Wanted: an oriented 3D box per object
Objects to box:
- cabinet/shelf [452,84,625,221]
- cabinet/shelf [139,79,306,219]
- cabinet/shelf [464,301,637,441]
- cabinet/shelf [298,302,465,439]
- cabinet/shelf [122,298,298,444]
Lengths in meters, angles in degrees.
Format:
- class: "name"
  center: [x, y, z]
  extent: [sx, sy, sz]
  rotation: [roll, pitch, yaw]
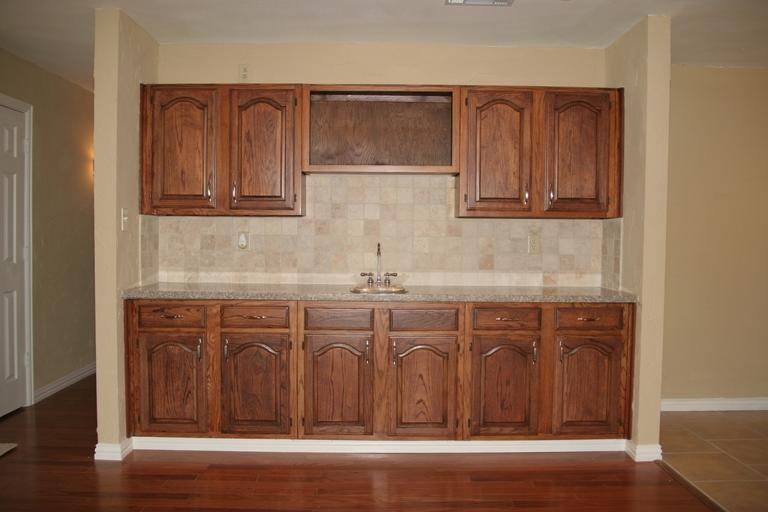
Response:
- class: "cabinet/shelf"
  center: [1.325, -0.916, 5.905]
  extent: [1.313, 0.968, 0.489]
  rotation: [0, 1, 0]
- class: "cabinet/shelf"
  center: [-1.408, -0.929, 5.889]
  extent: [1.337, 0.985, 0.491]
  rotation: [0, -1, 0]
- class: "cabinet/shelf"
  center: [1.338, 0.904, 5.721]
  extent: [1.301, 0.963, 0.470]
  rotation: [0, -2, 1]
- class: "cabinet/shelf"
  center: [0.023, 0.971, 5.917]
  extent: [1.506, 1.129, 0.547]
  rotation: [-2, -10, 15]
- class: "cabinet/shelf"
  center: [-1.431, 0.896, 5.712]
  extent: [1.350, 0.997, 0.485]
  rotation: [0, -1, -1]
